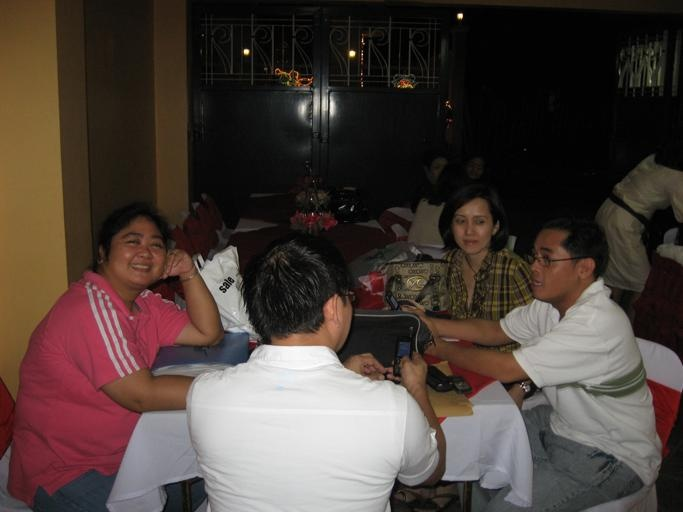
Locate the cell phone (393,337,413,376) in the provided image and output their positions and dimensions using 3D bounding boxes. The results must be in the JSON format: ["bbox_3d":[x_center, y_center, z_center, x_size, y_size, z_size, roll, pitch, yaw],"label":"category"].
[{"bbox_3d":[0.223,0.356,1.865,0.062,0.138,0.036,8,-3,10],"label":"cell phone"}]

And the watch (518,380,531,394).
[{"bbox_3d":[0.784,0.562,2.217,0.022,0.038,0.065,-5,-3,40],"label":"watch"}]

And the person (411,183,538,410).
[{"bbox_3d":[0.655,0.179,2.732,0.648,1.105,0.625,11,22,37],"label":"person"}]

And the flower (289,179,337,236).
[{"bbox_3d":[-0.223,-0.376,4.233,0.409,0.478,0.437,3,27,6],"label":"flower"}]

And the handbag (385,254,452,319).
[{"bbox_3d":[0.385,0.135,2.650,0.338,0.324,0.249,1,0,3],"label":"handbag"}]
